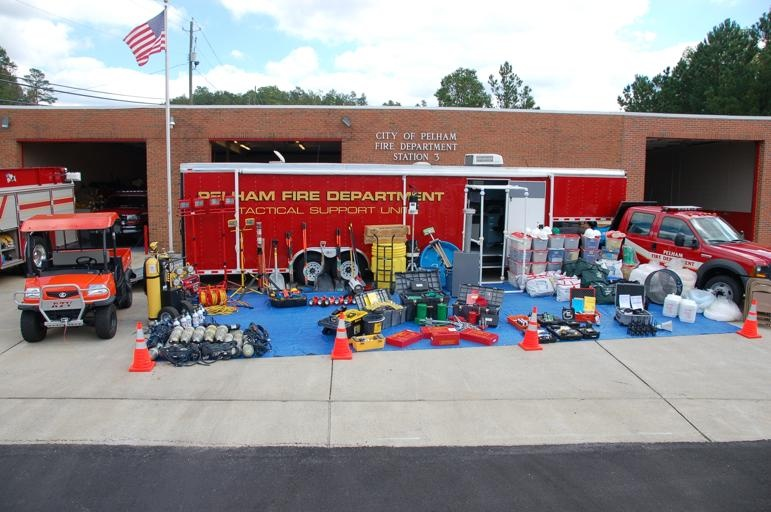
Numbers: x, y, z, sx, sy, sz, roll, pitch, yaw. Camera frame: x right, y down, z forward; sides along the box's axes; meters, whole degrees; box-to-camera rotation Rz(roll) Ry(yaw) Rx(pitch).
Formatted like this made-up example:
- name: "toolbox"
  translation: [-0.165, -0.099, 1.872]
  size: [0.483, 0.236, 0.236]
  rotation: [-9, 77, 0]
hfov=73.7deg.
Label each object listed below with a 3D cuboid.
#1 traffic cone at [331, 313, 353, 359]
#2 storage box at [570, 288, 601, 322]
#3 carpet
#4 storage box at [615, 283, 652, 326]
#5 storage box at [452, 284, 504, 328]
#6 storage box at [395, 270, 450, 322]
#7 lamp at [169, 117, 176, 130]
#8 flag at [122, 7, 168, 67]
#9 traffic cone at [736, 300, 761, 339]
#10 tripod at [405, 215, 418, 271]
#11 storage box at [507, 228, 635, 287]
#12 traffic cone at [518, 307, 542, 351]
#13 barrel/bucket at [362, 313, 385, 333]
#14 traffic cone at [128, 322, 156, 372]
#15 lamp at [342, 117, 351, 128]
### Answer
- name: "traffic cone"
  translation: [-0.922, 1.653, 10.584]
  size: [0.426, 0.804, 0.713]
  rotation: [-3, 7, -6]
- name: "storage box"
  translation: [4.744, 1.167, 12.423]
  size: [0.806, 0.699, 0.774]
  rotation: [0, 1, 8]
- name: "carpet"
  translation: [1.980, 1.427, 13.207]
  size: [12.307, 0.750, 4.614]
  rotation: [-3, 6, -7]
- name: "storage box"
  translation: [5.894, 1.134, 12.344]
  size: [1.005, 1.195, 0.966]
  rotation: [0, 0, 3]
- name: "storage box"
  translation: [2.203, 1.220, 12.413]
  size: [1.596, 1.223, 0.932]
  rotation: [4, 2, 23]
- name: "storage box"
  translation: [0.908, 0.926, 12.781]
  size: [1.345, 1.079, 1.262]
  rotation: [-1, 3, -9]
- name: "lamp"
  translation: [-9.086, -5.698, 21.946]
  size: [0.208, 0.476, 0.123]
  rotation: [-5, 8, -20]
- name: "flag"
  translation: [-8.914, -8.252, 19.319]
  size: [1.330, 2.060, 0.633]
  rotation: [-5, 8, -19]
- name: "traffic cone"
  translation: [8.334, 1.422, 11.748]
  size: [0.438, 0.778, 0.848]
  rotation: [3, 8, 35]
- name: "tripod"
  translation: [0.758, -0.457, 15.131]
  size: [0.279, 1.478, 0.668]
  rotation: [-1, 7, 12]
- name: "storage box"
  translation: [5.397, 0.075, 15.151]
  size: [1.919, 0.842, 0.543]
  rotation: [-2, 10, -12]
- name: "traffic cone"
  translation: [3.151, 1.509, 11.114]
  size: [0.483, 0.903, 0.865]
  rotation: [0, 7, 14]
- name: "barrel/bucket"
  translation: [-0.260, 1.503, 11.373]
  size: [0.443, 0.310, 0.434]
  rotation: [0, 4, 0]
- name: "traffic cone"
  translation: [-4.760, 1.722, 9.930]
  size: [0.457, 0.945, 0.610]
  rotation: [-6, 8, -25]
- name: "lamp"
  translation: [-1.682, -5.847, 22.315]
  size: [0.424, 0.459, 0.210]
  rotation: [-3, 7, -7]
